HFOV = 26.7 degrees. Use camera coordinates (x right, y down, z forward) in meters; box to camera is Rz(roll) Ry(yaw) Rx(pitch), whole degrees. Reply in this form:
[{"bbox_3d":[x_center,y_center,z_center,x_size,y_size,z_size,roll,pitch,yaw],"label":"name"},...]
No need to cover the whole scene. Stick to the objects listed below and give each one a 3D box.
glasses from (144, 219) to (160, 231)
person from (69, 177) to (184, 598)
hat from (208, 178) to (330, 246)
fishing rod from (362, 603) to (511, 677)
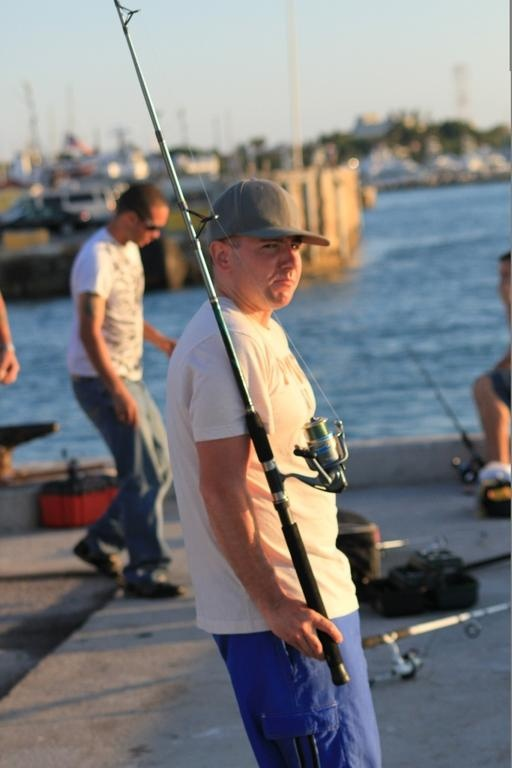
[{"bbox_3d":[-0.339,-0.523,3.573,0.010,0.030,0.033,-31,-13,28],"label":"glasses"},{"bbox_3d":[-0.447,0.020,3.560,0.521,1.367,0.542,4,12,2],"label":"person"},{"bbox_3d":[0.027,-0.346,2.194,0.133,0.125,0.196,7,10,33],"label":"hat"},{"bbox_3d":[0.594,0.800,3.466,0.395,0.146,0.387,-4,8,-17],"label":"fishing rod"}]
